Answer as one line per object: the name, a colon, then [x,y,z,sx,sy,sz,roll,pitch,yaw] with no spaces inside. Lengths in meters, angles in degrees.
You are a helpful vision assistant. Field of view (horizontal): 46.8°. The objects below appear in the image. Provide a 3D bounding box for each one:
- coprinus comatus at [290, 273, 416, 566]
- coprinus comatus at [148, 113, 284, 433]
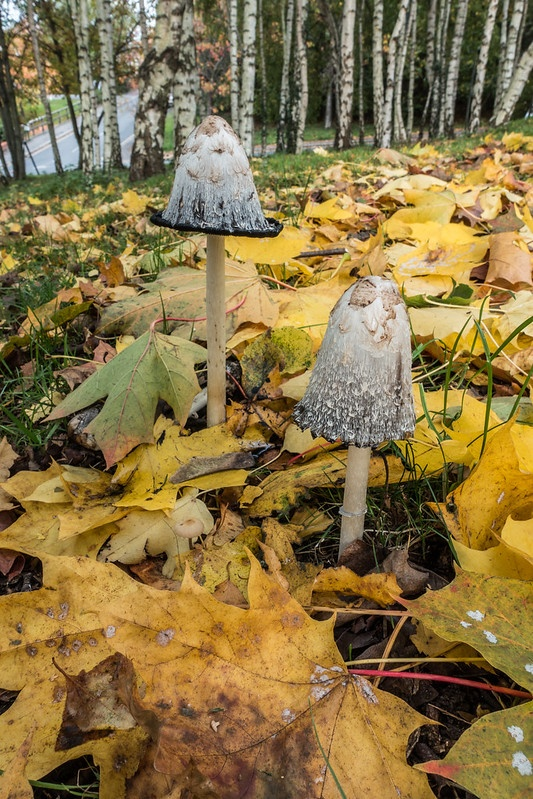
coprinus comatus: [0.190,-0.072,1.230,0.219,0.308,0.209,-12,29,-24]
coprinus comatus: [-0.112,-0.263,1.574,0.344,0.831,0.338,-9,28,-19]
